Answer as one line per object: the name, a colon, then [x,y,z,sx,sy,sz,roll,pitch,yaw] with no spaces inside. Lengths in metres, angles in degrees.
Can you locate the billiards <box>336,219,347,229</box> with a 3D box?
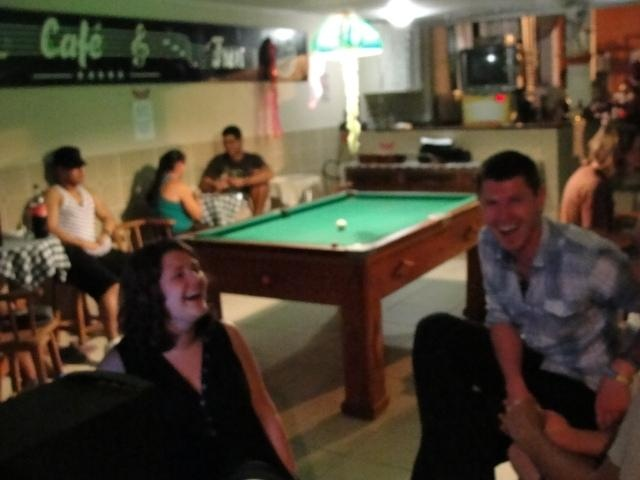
billiards: [0.122,-0.089,3.081,0.053,0.052,0.055,-1,4,3]

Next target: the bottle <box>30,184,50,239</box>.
bottle: [-1.395,-0.136,2.661,0.069,0.267,0.096,5,16,42]

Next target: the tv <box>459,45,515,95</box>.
tv: [1.117,-1.136,3.583,0.300,0.286,0.078,10,28,38]

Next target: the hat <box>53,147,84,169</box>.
hat: [-1.275,-0.412,2.734,0.092,0.066,0.128,6,-1,23]
